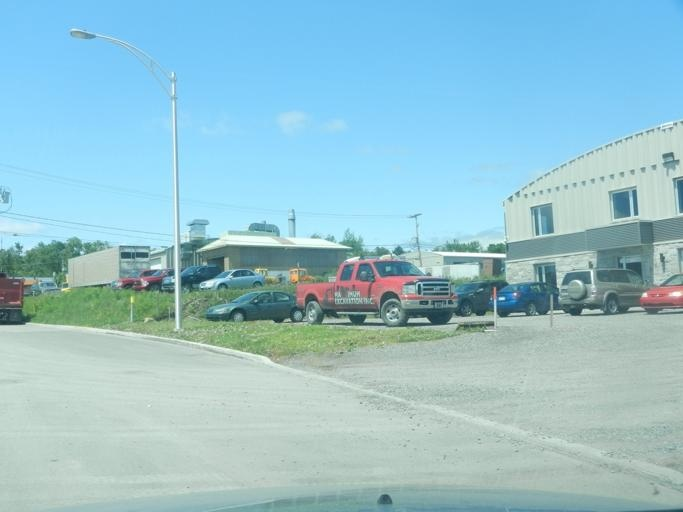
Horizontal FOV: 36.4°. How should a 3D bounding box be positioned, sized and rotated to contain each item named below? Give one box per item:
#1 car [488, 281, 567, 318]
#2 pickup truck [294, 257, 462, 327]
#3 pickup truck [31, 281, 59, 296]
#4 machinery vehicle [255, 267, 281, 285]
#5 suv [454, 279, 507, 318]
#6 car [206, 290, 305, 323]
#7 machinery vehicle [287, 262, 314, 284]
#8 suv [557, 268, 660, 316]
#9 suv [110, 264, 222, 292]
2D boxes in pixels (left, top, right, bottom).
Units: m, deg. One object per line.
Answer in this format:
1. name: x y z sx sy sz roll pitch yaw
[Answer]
1. car: 6.953 1.681 38.576 2.229 1.278 2.966 6 3 27
2. pickup truck: 0.998 1.253 34.208 2.738 2.175 6.036 5 -7 -40
3. pickup truck: -25.938 2.806 90.476 2.085 0.974 1.503 -6 -7 41
4. machinery vehicle: -4.579 1.209 63.996 1.136 0.810 1.770 0 -5 4
5. suv: 4.759 1.497 39.160 1.860 1.482 1.471 1 3 -23
6. car: -3.245 1.960 38.676 3.211 0.949 1.424 5 -7 -35
7. machinery vehicle: -2.694 1.193 66.759 1.942 1.020 1.181 -3 4 -32
8. suv: 9.322 1.191 36.731 3.122 1.071 1.501 -4 3 -40
9. suv: -9.586 1.151 53.563 1.560 1.487 3.713 0 0 27
